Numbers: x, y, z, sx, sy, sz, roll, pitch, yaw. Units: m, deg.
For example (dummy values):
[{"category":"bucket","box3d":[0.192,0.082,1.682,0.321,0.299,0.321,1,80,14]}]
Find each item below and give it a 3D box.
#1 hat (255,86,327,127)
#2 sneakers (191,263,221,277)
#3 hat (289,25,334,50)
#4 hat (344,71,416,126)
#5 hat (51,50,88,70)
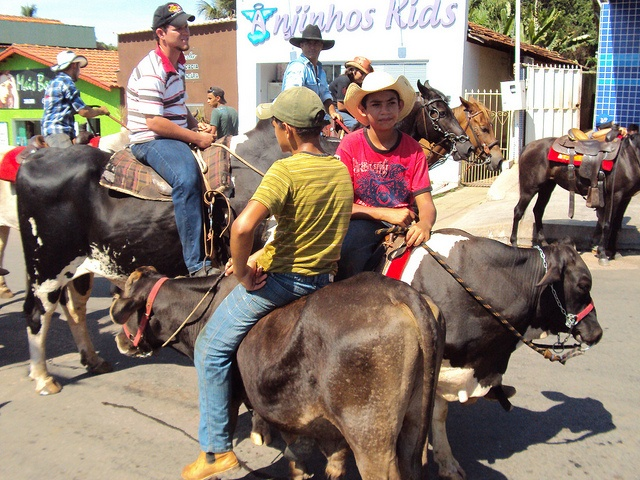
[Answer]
[{"category":"hat","box3d":[-0.207,-0.908,4.293,0.456,0.284,0.313,19,34,21]},{"category":"sneakers","box3d":[-1.041,0.288,5.550,0.273,0.094,0.170,-5,-4,35]},{"category":"hat","box3d":[-0.136,-2.419,7.253,0.440,0.232,0.551,0,-3,-2]},{"category":"hat","box3d":[0.494,-1.157,4.943,0.603,0.429,0.457,-1,10,-13]},{"category":"hat","box3d":[-3.471,-2.510,8.411,0.407,0.183,0.364,-32,2,-42]}]
